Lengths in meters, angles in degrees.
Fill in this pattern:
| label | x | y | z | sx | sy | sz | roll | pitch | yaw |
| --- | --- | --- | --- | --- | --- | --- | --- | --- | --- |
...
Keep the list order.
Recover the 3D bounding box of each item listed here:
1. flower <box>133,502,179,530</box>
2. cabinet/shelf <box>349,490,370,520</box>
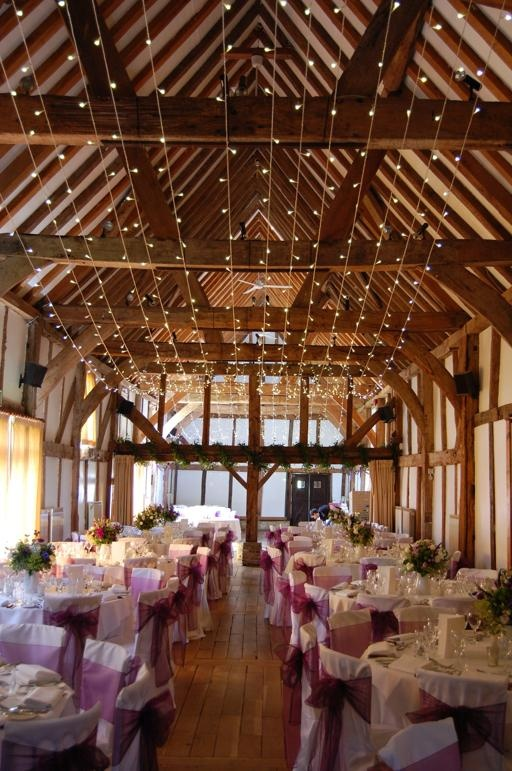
| label | x | y | z | sx | sy | sz | roll | pitch | yaw |
| --- | --- | --- | --- | --- | --- | --- | --- | --- | --- |
| flower | -1.634 | 2.026 | 8.459 | 0.468 | 0.466 | 0.804 | 1 | -11 | 0 |
| cabinet/shelf | 3.110 | 3.564 | 15.638 | 0.525 | 0.790 | 0.988 | -1 | -11 | 6 |
